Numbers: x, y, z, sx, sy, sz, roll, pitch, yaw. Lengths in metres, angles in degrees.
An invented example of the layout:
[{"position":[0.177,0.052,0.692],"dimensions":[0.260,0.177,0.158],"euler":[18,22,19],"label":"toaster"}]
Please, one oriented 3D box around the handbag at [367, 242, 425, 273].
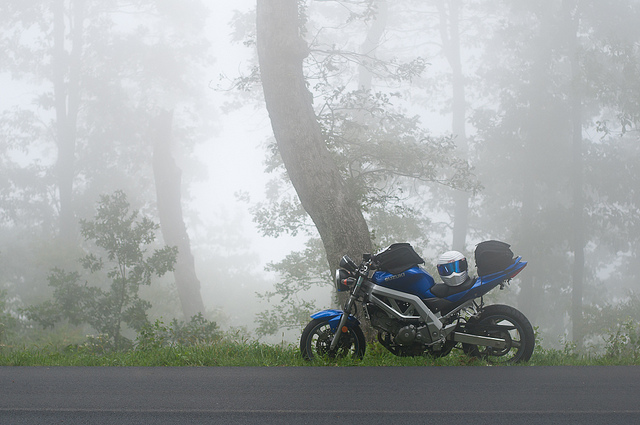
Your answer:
[{"position":[2.054,1.296,19.590],"dimensions":[1.187,0.898,0.456],"euler":[-15,-50,-6],"label":"handbag"}]
